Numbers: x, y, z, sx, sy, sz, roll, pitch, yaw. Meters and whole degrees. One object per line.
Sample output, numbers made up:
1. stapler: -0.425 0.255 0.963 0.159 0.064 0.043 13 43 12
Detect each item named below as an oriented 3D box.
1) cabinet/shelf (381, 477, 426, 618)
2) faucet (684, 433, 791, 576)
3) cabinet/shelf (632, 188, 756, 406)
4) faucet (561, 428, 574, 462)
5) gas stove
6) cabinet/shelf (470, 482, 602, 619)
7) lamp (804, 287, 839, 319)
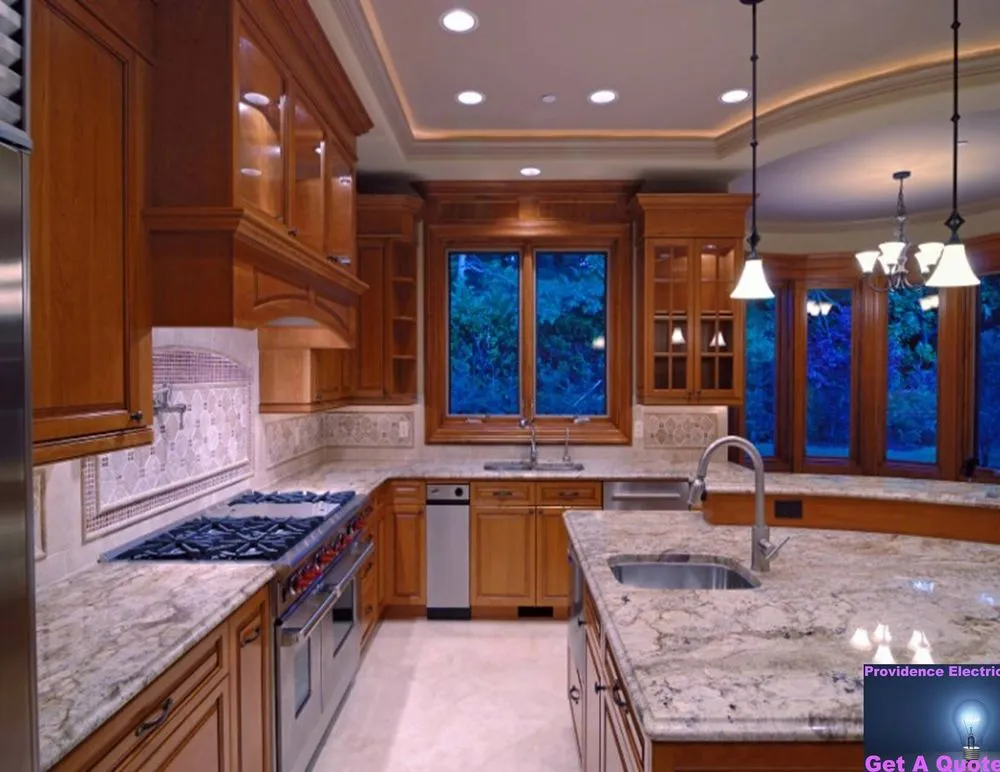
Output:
1. cabinet/shelf: -0.584 0.953 4.752 0.244 0.741 0.200 1 13 9
2. faucet: 0.873 0.464 2.862 0.344 0.519 0.250 -1 6 24
3. cabinet/shelf: 1.229 -0.537 5.103 0.718 1.318 0.398 -1 5 -2
4. faucet: 0.447 0.411 5.240 0.073 0.192 0.248 0 13 5
5. gas stove: -1.080 0.753 3.539 0.727 0.327 1.385 1 4 5
6. cabinet/shelf: 0.190 0.887 4.398 0.780 0.796 0.329 0 -3 -1
7. lamp: 2.792 -0.721 6.724 0.263 0.233 0.069 -2 13 -4
